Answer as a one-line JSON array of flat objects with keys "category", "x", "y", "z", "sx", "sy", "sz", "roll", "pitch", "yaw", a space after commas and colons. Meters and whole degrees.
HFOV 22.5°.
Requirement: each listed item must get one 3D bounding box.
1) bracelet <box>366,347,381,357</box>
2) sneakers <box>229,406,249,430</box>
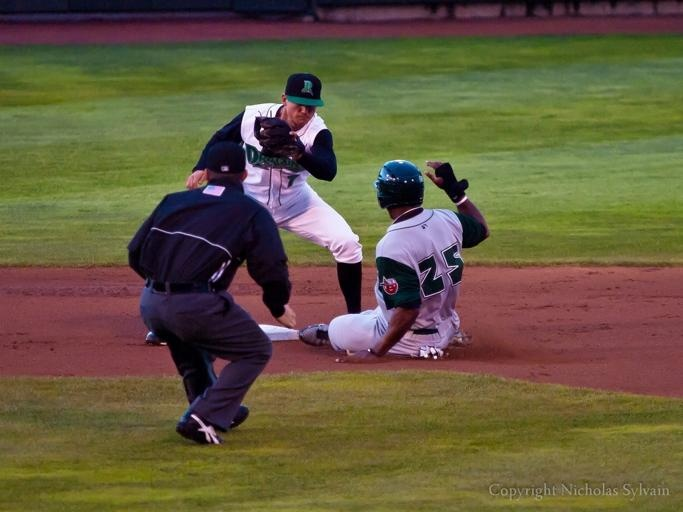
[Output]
[{"category": "bracelet", "x": 0.371, "y": 1.151, "z": 20.448, "sx": 0.130, "sy": 0.076, "sz": 0.060, "roll": 34, "pitch": 40, "yaw": 13}, {"category": "sneakers", "x": -1.143, "y": 1.840, "z": 19.549, "sx": 0.130, "sy": 0.133, "sz": 0.349, "roll": 18, "pitch": 28, "yaw": 15}]
